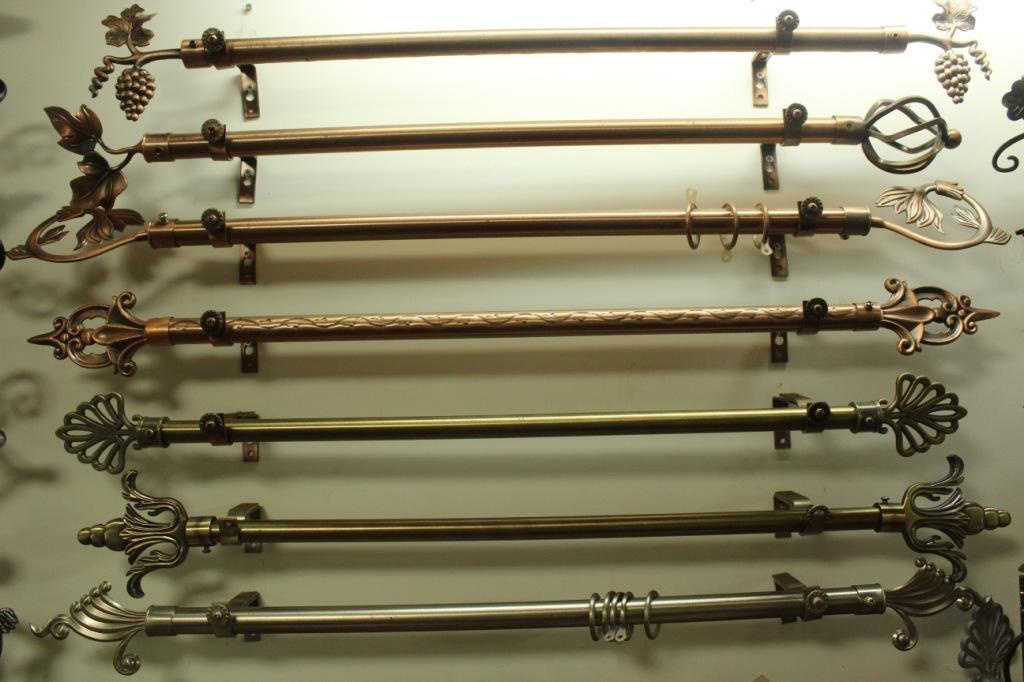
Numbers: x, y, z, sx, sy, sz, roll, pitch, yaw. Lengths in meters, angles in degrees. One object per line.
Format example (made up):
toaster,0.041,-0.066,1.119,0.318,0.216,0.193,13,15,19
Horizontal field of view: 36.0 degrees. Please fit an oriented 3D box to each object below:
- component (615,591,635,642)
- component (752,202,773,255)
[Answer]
component,0.291,0.705,4.079,0.036,0.098,0.104,0,-63,5
component,0.664,-0.283,4.143,0.029,0.079,0.107,-1,-63,12
